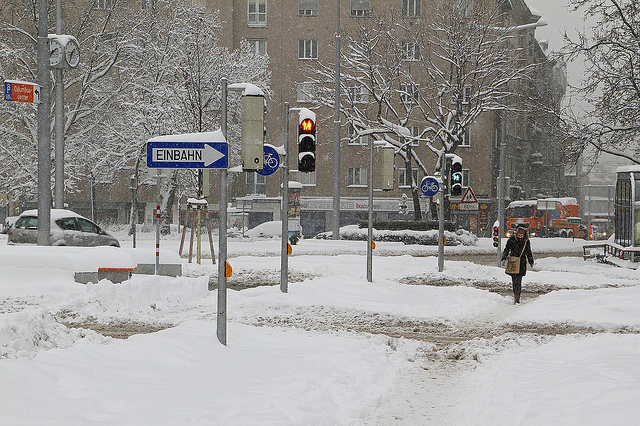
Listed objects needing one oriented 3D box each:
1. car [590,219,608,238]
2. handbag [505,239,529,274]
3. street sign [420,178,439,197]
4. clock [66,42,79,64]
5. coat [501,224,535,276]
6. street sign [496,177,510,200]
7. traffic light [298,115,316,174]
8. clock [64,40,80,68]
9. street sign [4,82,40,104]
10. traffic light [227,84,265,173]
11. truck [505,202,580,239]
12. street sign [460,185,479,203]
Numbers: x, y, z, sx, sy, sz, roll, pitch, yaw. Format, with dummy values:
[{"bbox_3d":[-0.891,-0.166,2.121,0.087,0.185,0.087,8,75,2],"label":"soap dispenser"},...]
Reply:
[{"bbox_3d":[27.239,1.355,98.679,1.552,1.725,2.810,1,-6,0],"label":"car"},{"bbox_3d":[7.549,1.645,39.059,0.635,1.277,1.082,6,11,13],"label":"handbag"},{"bbox_3d":[4.866,-1.226,44.743,1.082,1.190,0.196,-3,29,-1],"label":"street sign"},{"bbox_3d":[-9.987,-6.448,40.426,0.560,0.833,0.231,-5,14,-38],"label":"clock"},{"bbox_3d":[7.736,1.360,39.335,0.689,2.321,0.939,0,0,-4],"label":"coat"},{"bbox_3d":[8.325,-1.214,45.888,0.573,1.042,1.307,6,11,10],"label":"street sign"},{"bbox_3d":[-0.492,-2.430,35.556,0.613,1.908,0.467,3,11,-4],"label":"traffic light"},{"bbox_3d":[-9.999,-6.435,40.440,0.295,1.068,0.826,8,12,20],"label":"clock"},{"bbox_3d":[-11.365,-4.644,38.423,0.924,0.547,0.161,0,5,-26],"label":"street sign"},{"bbox_3d":[-2.433,-2.687,32.127,1.228,2.923,0.672,1,-15,-12],"label":"traffic light"},{"bbox_3d":[18.015,0.511,80.962,2.805,3.614,6.889,0,1,45],"label":"truck"},{"bbox_3d":[6.661,-0.869,45.335,0.717,0.611,1.069,6,11,7],"label":"street sign"}]
